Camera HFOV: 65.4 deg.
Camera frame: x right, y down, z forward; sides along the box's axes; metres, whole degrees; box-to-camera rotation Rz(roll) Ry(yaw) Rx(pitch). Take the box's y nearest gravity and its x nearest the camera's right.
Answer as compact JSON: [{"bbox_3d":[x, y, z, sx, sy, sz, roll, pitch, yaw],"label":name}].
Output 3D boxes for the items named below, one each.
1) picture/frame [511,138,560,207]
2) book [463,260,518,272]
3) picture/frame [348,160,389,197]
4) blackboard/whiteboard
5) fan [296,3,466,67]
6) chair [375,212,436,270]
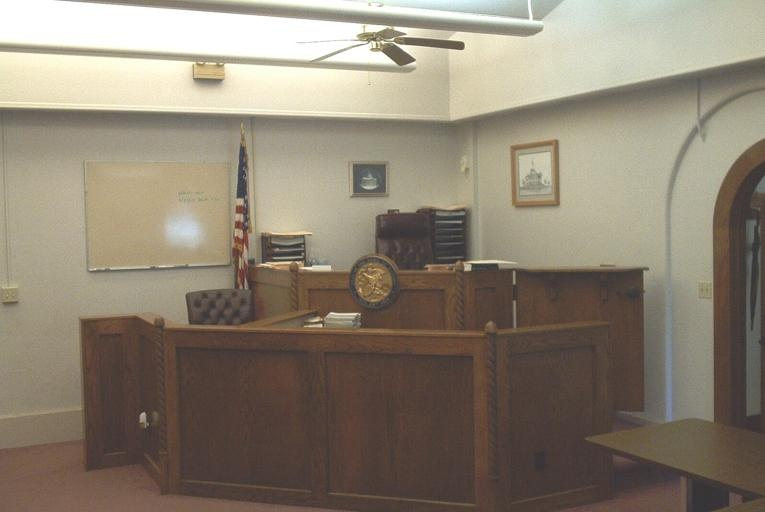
[{"bbox_3d":[1.979,-1.064,7.600,0.084,1.121,0.923,0,-1,-44],"label":"picture/frame"},{"bbox_3d":[1.108,0.111,6.259,0.545,0.124,0.117,-8,11,-6],"label":"book"},{"bbox_3d":[-0.231,-1.086,8.333,0.539,0.441,0.051,0,-1,-21],"label":"picture/frame"},{"bbox_3d":[-2.903,-0.506,7.452,1.454,1.059,0.065,-1,4,-18],"label":"blackboard/whiteboard"},{"bbox_3d":[-0.106,-2.386,6.427,0.896,0.345,0.958,5,7,32],"label":"fan"},{"bbox_3d":[0.171,-0.174,8.074,0.723,0.983,0.741,0,-1,-5],"label":"chair"}]
